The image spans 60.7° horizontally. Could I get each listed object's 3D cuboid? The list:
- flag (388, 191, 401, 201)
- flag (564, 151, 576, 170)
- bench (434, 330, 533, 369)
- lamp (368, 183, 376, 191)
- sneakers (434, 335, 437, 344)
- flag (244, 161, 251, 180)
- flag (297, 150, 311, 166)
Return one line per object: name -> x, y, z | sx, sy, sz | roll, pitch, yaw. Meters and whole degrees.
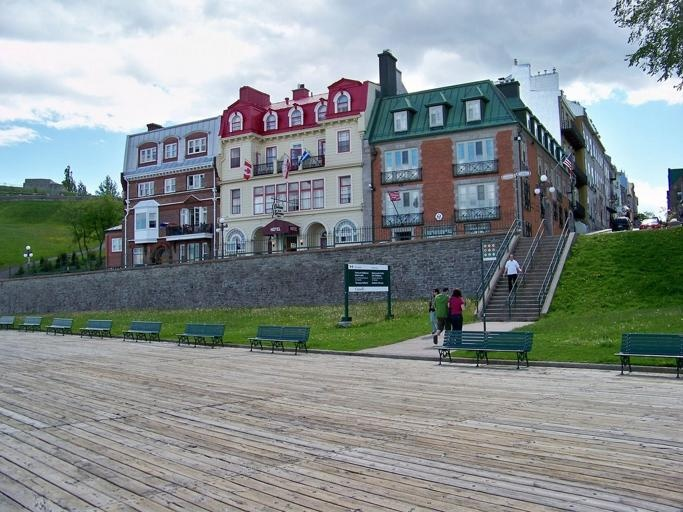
flag -> 3.812, -4.238, 41.963 | 0.873, 0.648, 0.092 | -2, 11, -31
flag -> 17.507, -7.122, 44.968 | 0.655, 1.228, 2.357 | -2, -3, 20
bench -> 4.255, 2.795, 17.605 | 2.686, 0.967, 0.877 | -4, 1, 35
lamp -> 2.252, -5.080, 43.991 | 0.403, 0.615, 0.461 | -3, -4, 39
sneakers -> 3.327, 3.029, 20.718 | 0.095, 0.126, 0.319 | -1, -45, 9
flag -> -7.915, -7.071, 48.888 | 0.481, 1.571, 1.101 | -1, -3, 8
flag -> -3.015, -7.713, 46.901 | 1.179, 1.050, 0.630 | -1, 19, 4
